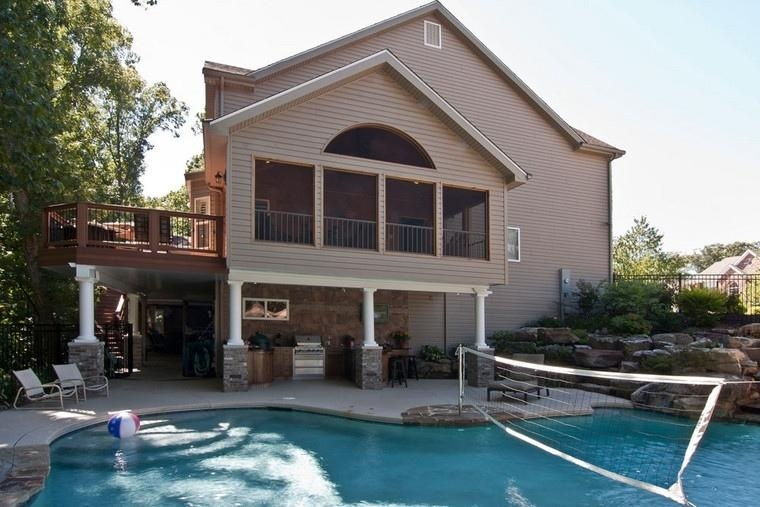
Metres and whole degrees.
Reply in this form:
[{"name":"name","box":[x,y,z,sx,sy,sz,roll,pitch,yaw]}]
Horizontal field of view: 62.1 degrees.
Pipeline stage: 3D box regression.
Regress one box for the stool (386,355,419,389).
[{"name":"stool","box":[0.936,5.271,27.800,1.287,0.756,0.415,2,-5,-24]}]

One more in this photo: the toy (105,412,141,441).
[{"name":"toy","box":[-8.520,5.659,21.045,0.869,0.834,0.851,14,6,-13]}]

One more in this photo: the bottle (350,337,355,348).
[{"name":"bottle","box":[-1.257,4.072,28.752,0.326,0.487,0.318,0,-3,0]}]

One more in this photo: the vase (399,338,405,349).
[{"name":"vase","box":[1.085,4.269,29.478,0.368,0.373,0.328,0,-8,3]}]

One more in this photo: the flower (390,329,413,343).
[{"name":"flower","box":[0.922,3.967,29.585,0.719,0.559,0.700,3,-10,1]}]
